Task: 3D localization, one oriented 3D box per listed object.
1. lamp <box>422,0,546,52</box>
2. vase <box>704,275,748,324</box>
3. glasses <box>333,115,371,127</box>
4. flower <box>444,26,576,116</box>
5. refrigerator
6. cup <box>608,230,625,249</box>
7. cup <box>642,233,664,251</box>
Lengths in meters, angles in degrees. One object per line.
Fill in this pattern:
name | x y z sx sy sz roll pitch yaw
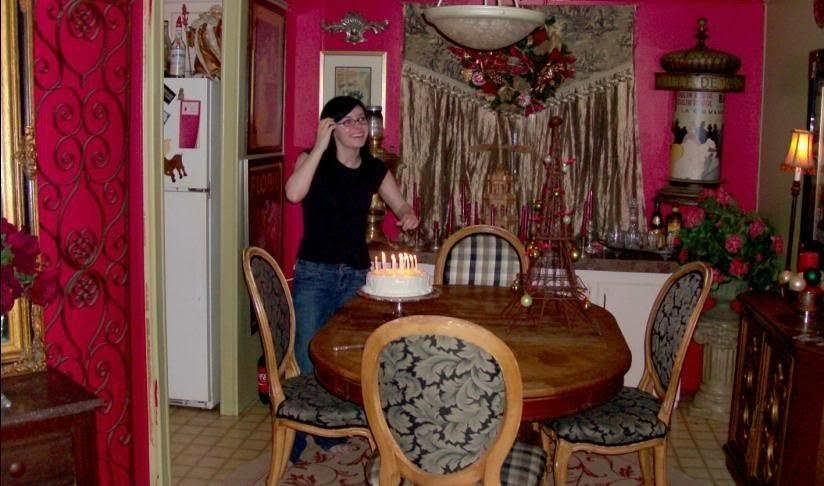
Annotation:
lamp | 0.477 -1.304 3.810 0.819 0.248 0.837 1 11 3
vase | 2.350 0.409 4.874 0.334 0.374 0.335 -2 13 -4
glasses | -0.388 -0.775 4.088 0.233 0.065 0.096 -1 7 -23
flower | 0.832 -1.360 5.011 0.693 0.712 0.259 7 7 2
refrigerator | -1.658 0.019 4.711 0.408 2.421 0.132 2 7 2
cup | 1.643 -0.029 5.102 0.123 0.138 0.122 0 -5 0
cup | 1.952 -0.004 5.121 0.155 0.152 0.135 0 6 -11
